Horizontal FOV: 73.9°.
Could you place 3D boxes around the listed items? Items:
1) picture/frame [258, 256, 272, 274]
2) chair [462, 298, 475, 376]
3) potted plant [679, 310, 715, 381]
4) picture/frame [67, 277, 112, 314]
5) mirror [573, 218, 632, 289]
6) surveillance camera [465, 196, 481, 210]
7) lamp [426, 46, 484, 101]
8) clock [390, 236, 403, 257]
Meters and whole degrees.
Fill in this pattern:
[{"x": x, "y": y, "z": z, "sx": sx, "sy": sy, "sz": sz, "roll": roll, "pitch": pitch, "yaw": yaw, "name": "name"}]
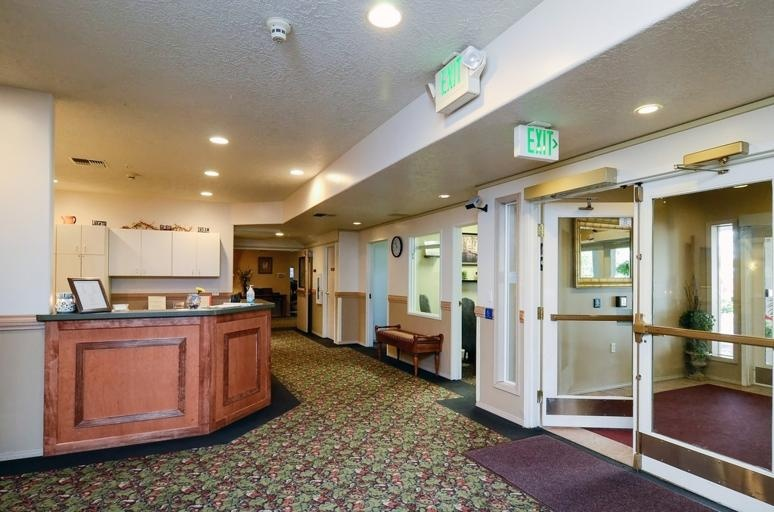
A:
[{"x": -4.120, "y": 0.287, "z": 17.234, "sx": 0.650, "sy": 0.662, "sz": 0.074, "roll": 1, "pitch": 6, "yaw": -20, "name": "picture/frame"}, {"x": 1.427, "y": 1.334, "z": 8.908, "sx": 0.226, "sy": 1.084, "sz": 0.476, "roll": 1, "pitch": 13, "yaw": 6, "name": "chair"}, {"x": 2.976, "y": 0.835, "z": 4.957, "sx": 0.295, "sy": 0.652, "sz": 0.135, "roll": 8, "pitch": 15, "yaw": 32, "name": "potted plant"}, {"x": -3.281, "y": 0.427, "z": 5.687, "sx": 0.448, "sy": 0.398, "sz": 0.027, "roll": -4, "pitch": 16, "yaw": 19, "name": "picture/frame"}, {"x": 2.583, "y": -0.050, "z": 6.151, "sx": 0.935, "sy": 0.980, "sz": 0.080, "roll": 0, "pitch": 3, "yaw": -5, "name": "mirror"}, {"x": 1.176, "y": -0.706, "z": 6.854, "sx": 0.189, "sy": 0.153, "sz": 0.231, "roll": 2, "pitch": 12, "yaw": 8, "name": "surveillance camera"}, {"x": 0.637, "y": -1.677, "z": 4.808, "sx": 0.242, "sy": 0.439, "sz": 0.741, "roll": 3, "pitch": 4, "yaw": -35, "name": "lamp"}, {"x": 0.195, "y": -0.175, "z": 9.627, "sx": 0.071, "sy": 0.387, "sz": 0.427, "roll": 0, "pitch": -2, "yaw": -20, "name": "clock"}]
